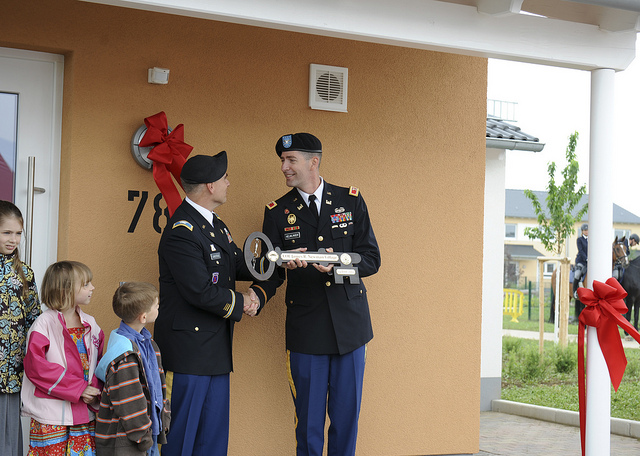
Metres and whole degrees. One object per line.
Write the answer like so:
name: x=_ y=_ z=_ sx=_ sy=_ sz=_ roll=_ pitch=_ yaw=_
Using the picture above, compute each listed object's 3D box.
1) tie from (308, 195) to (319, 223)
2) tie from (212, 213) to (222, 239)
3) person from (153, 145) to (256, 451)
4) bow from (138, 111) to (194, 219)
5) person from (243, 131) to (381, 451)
tie: x=-0.041 y=-0.145 z=5.262 sx=0.052 sy=0.206 sz=0.053 roll=-4 pitch=-23 yaw=-7
tie: x=-0.729 y=-0.033 z=5.034 sx=0.027 sy=0.120 sz=0.068 roll=-18 pitch=-14 yaw=32
person: x=-0.810 y=0.509 z=4.898 sx=0.636 sy=2.084 sz=0.412 roll=-1 pitch=3 yaw=-14
bow: x=-1.166 y=-0.488 z=5.423 sx=0.391 sy=0.781 sz=0.197 roll=-1 pitch=3 yaw=-16
person: x=-0.019 y=0.469 z=5.186 sx=0.913 sy=2.323 sz=0.515 roll=-1 pitch=3 yaw=1
